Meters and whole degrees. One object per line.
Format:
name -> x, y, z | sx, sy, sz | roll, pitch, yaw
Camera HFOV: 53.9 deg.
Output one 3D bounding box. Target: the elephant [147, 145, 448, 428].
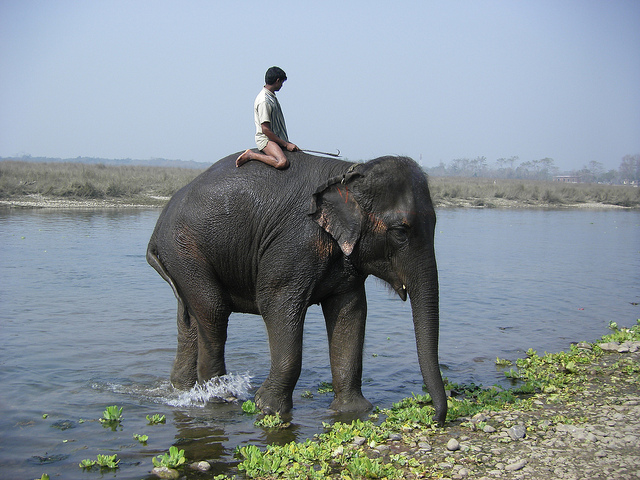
elephant -> -0.301, 0.532, 7.911 | 3.733, 3.225, 1.510 | 3, 5, 20
